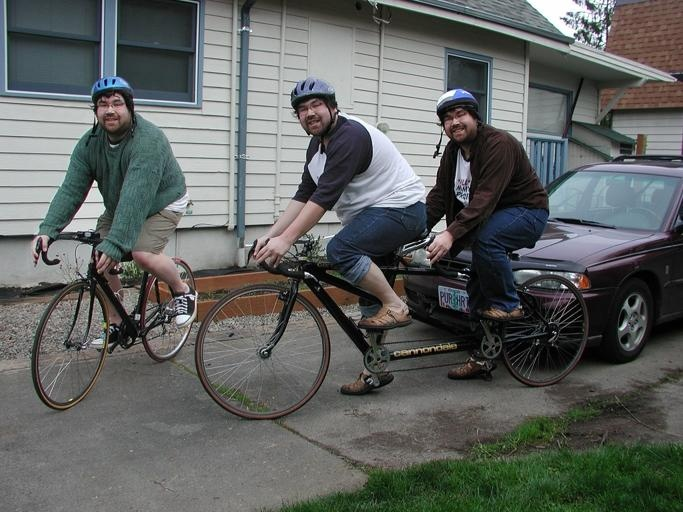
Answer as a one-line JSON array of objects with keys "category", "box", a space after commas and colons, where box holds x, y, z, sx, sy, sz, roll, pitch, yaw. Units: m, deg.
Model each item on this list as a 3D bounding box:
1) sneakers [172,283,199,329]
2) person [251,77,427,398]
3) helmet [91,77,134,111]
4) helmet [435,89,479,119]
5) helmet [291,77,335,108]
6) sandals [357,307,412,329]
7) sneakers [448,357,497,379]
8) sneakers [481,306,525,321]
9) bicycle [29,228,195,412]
[{"category": "sneakers", "box": [-1.351, 0.452, 4.785, 0.132, 0.169, 0.414, -18, 13, 2]}, {"category": "person", "box": [0.048, -0.306, 4.259, 1.355, 1.963, 0.598, -3, 10, -20]}, {"category": "helmet", "box": [-1.823, -1.282, 4.430, 0.274, 0.263, 0.271, -5, 11, -28]}, {"category": "helmet", "box": [0.957, -1.223, 4.574, 0.321, 0.249, 0.238, 2, 10, 9]}, {"category": "helmet", "box": [-0.204, -1.164, 4.023, 0.301, 0.223, 0.180, -1, 10, -10]}, {"category": "sandals", "box": [0.330, 0.449, 4.261, 0.291, 0.133, 0.182, 0, -4, -20]}, {"category": "sneakers", "box": [1.154, 0.985, 4.970, 0.469, 0.234, 0.176, 2, 1, -2]}, {"category": "sneakers", "box": [1.337, 0.442, 4.620, 0.257, 0.117, 0.146, 5, -2, -7]}, {"category": "bicycle", "box": [-1.831, 0.421, 4.713, 0.566, 1.239, 1.971, 9, 9, 16]}]
